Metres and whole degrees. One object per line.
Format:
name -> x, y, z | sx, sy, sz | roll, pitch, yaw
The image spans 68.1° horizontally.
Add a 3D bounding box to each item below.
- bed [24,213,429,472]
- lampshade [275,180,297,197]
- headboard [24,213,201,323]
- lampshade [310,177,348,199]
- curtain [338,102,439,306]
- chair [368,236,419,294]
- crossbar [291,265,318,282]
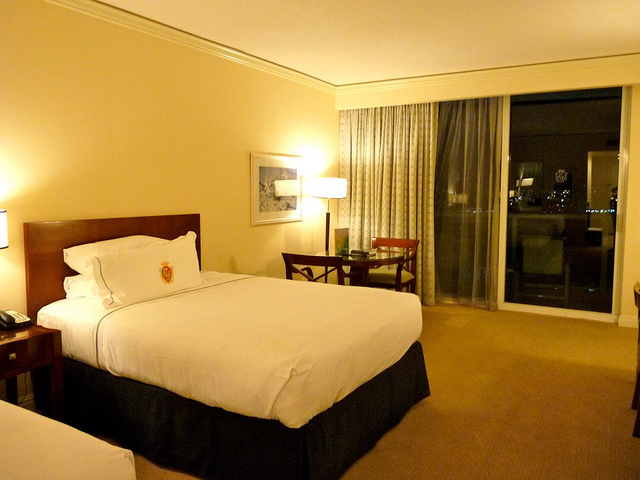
bed -> -0.731, 0.613, 3.731 | 2.794, 1.504, 1.923 | 5, 11, 29
lampshade -> -0.433, -0.659, 6.005 | 0.069, 0.199, 0.367 | 4, 3, 32
headboard -> -1.671, 0.264, 3.925 | 1.362, 0.896, 0.051 | -4, -9, -11
lampshade -> 0.153, -0.630, 6.111 | 0.315, 0.180, 0.322 | 3, 4, 40
curtain -> 0.982, -0.392, 6.876 | 1.227, 2.943, 0.460 | 6, 8, 24
chair -> 0.987, 0.321, 5.957 | 0.676, 1.002, 0.686 | 0, -2, 25
crossbar -> -0.188, 0.351, 5.033 | 0.175, 0.051, 0.183 | 15, 8, 25
